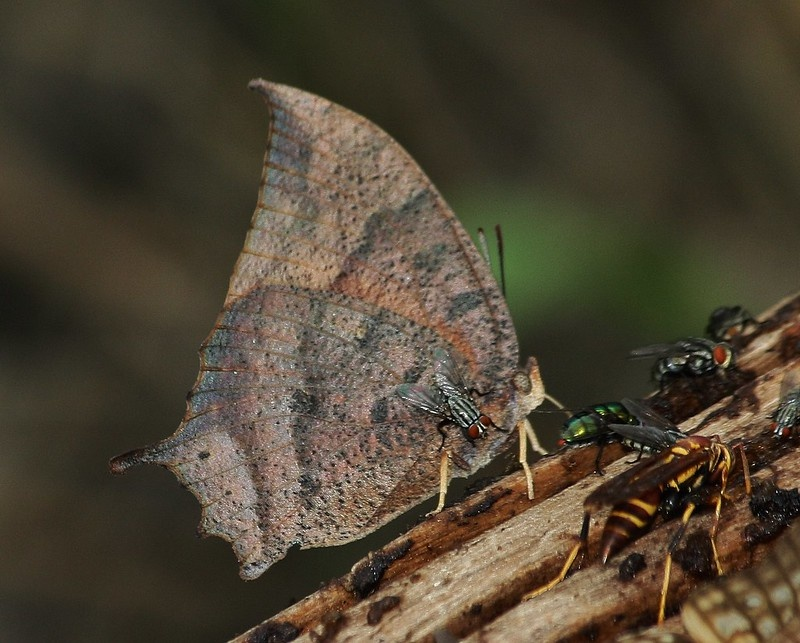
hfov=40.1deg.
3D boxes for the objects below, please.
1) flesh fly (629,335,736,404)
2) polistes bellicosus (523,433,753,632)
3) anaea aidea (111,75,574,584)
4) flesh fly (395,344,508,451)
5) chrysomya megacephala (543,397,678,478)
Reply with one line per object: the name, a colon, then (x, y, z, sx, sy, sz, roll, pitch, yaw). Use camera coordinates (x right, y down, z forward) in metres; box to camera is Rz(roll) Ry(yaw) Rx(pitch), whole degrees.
flesh fly: (2.721, 0.374, 10.496, 0.807, 0.456, 0.228, -6, -48, 25)
polistes bellicosus: (2.154, 1.594, 8.857, 1.900, 1.333, 0.539, -31, -50, -18)
anaea aidea: (-0.566, 0.146, 9.759, 3.315, 3.699, 2.094, -37, -26, 25)
flesh fly: (0.479, 0.564, 9.935, 1.490, 0.694, 0.847, -5, -75, -29)
chrysomya megacephala: (1.895, 1.036, 9.720, 0.980, 0.737, 0.208, 6, -73, 0)
